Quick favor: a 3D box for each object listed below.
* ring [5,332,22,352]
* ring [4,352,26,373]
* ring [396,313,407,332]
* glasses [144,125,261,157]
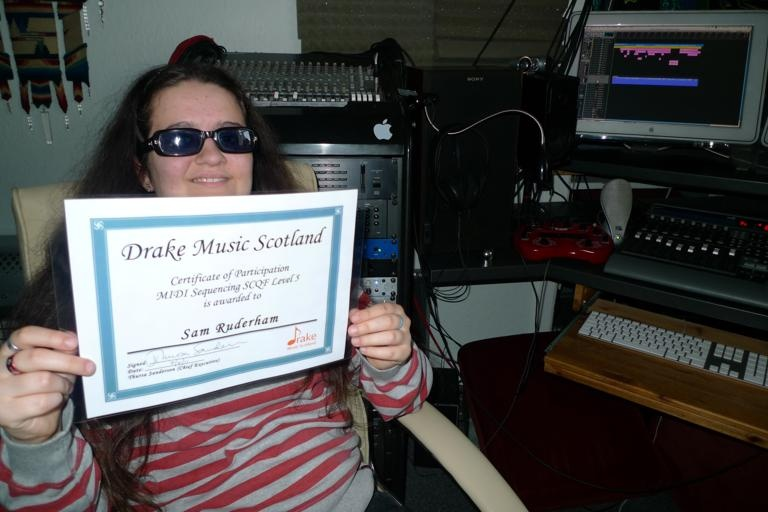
[{"bbox_3d":[-0.822,0.190,1.292,0.023,0.038,0.037,-34,43,8],"label":"ring"},{"bbox_3d":[-0.804,0.233,1.263,0.038,0.010,0.040,25,20,-10],"label":"ring"},{"bbox_3d":[0.047,0.171,1.463,0.033,0.033,0.033,0,14,0],"label":"ring"},{"bbox_3d":[-0.483,-0.296,1.484,0.297,0.074,0.085,-4,20,-11],"label":"glasses"}]
